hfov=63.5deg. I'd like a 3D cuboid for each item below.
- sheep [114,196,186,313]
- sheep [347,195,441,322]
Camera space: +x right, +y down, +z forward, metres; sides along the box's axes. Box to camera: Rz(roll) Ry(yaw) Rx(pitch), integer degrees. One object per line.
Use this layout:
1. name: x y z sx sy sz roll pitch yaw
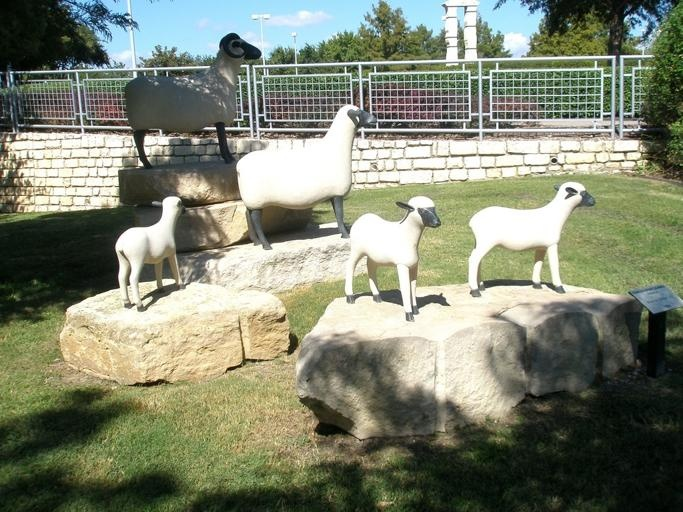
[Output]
1. sheep: -2.213 -0.067 6.416 0.381 1.091 0.947 3 16 25
2. sheep: 0.550 -0.040 5.714 1.132 1.298 0.630 13 18 42
